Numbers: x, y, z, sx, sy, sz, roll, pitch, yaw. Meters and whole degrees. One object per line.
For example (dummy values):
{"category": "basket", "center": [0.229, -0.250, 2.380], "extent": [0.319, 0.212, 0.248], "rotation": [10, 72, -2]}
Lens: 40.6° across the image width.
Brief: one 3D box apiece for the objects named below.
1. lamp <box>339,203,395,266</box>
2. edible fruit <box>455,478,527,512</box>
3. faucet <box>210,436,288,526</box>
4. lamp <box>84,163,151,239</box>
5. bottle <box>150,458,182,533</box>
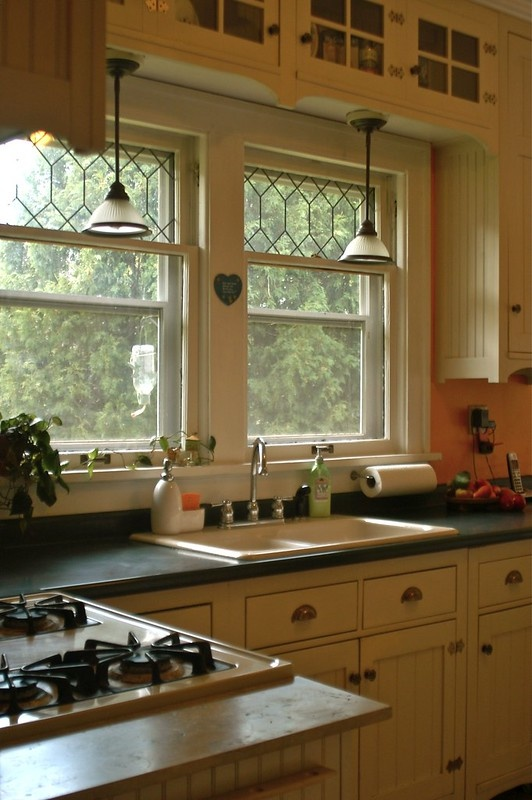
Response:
{"category": "lamp", "center": [0.360, -0.595, 2.595], "extent": [0.168, 0.184, 0.176], "rotation": [0, -5, -2]}
{"category": "edible fruit", "center": [0.912, 0.397, 2.964], "extent": [0.288, 0.115, 0.150], "rotation": [0, -4, 12]}
{"category": "faucet", "center": [-0.070, 0.296, 2.528], "extent": [0.281, 0.250, 0.133], "rotation": [3, -9, -31]}
{"category": "lamp", "center": [-0.432, -0.563, 2.103], "extent": [0.181, 0.153, 0.190], "rotation": [2, -4, -21]}
{"category": "bottle", "center": [-0.312, 0.303, 2.224], "extent": [0.096, 0.230, 0.074], "rotation": [0, -4, 1]}
